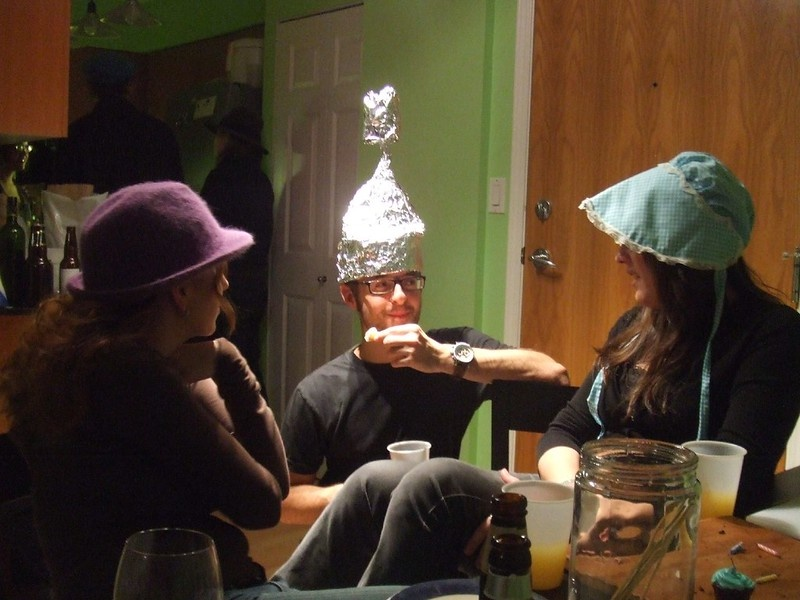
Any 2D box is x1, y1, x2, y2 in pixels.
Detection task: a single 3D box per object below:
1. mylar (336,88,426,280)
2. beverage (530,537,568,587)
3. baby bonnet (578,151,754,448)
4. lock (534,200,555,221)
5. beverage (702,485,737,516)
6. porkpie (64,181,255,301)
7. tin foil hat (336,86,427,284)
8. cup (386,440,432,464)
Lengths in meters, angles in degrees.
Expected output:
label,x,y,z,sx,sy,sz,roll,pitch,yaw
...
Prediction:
label,x,y,z,sx,sy,sz,roll,pitch,yaw
mylar,-0.059,-0.294,1.952,0.216,0.475,0.213,-8,19,-22
beverage,0.203,0.363,1.106,0.057,0.068,0.064,0,-2,2
baby bonnet,0.520,0.004,1.686,0.368,0.676,0.350,22,28,38
lock,0.530,-0.326,2.854,0.068,0.097,0.013,0,-1,29
beverage,0.509,0.323,1.241,0.045,0.037,0.047,0,-2,1
porkpie,-0.365,-0.091,1.208,0.273,0.177,0.082,-1,3,-27
tin foil hat,-0.055,-0.273,1.960,0.217,0.483,0.217,-7,19,-20
cup,0.020,0.272,1.450,0.057,0.040,0.055,-2,-6,0
